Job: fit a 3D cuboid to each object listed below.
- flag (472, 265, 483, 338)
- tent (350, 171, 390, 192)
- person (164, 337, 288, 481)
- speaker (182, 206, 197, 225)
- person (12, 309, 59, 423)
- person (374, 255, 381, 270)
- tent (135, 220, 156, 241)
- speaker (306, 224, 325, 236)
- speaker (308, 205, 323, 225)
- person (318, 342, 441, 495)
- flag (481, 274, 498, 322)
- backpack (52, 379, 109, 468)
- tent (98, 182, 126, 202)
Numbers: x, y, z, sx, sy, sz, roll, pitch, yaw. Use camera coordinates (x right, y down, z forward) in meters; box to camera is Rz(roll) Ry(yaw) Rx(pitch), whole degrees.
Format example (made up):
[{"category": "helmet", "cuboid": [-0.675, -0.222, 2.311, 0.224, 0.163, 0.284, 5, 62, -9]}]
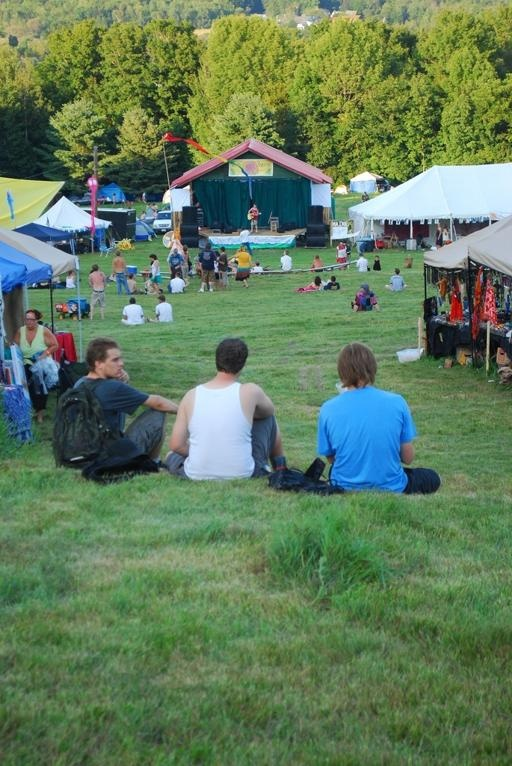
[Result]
[{"category": "flag", "cuboid": [2.841, -0.990, 12.793, 0.142, 0.915, 0.455, 0, 8, 13]}, {"category": "tent", "cuboid": [7.310, -12.589, 62.841, 2.018, 1.585, 2.083, -2, 13, -8]}, {"category": "person", "cuboid": [-0.167, 0.169, 5.949, 0.624, 0.845, 0.815, 3, 11, 6]}, {"category": "speaker", "cuboid": [-2.501, -6.309, 37.582, 0.536, 0.740, 0.654, -2, 8, -5]}, {"category": "person", "cuboid": [-2.168, -0.178, 9.808, 0.366, 1.082, 0.590, 0, 8, 9]}, {"category": "person", "cuboid": [3.606, -3.557, 29.708, 0.200, 0.400, 0.722, -1, 8, 7]}, {"category": "tent", "cuboid": [-4.821, -6.594, 43.048, 0.427, 0.874, 1.654, 1, 9, 16]}, {"category": "speaker", "cuboid": [2.260, -5.773, 37.579, 0.631, 0.405, 0.241, -1, 8, 5]}, {"category": "speaker", "cuboid": [2.318, -6.427, 38.146, 0.617, 0.748, 0.641, 0, 9, 0]}, {"category": "person", "cuboid": [0.711, 0.236, 5.600, 0.730, 0.920, 0.502, -8, 10, -37]}, {"category": "flag", "cuboid": [2.956, -1.029, 12.600, 0.203, 0.587, 0.863, 0, 9, 14]}, {"category": "backpack", "cuboid": [-1.085, 0.275, 6.170, 0.355, 0.499, 0.232, -2, 8, -6]}, {"category": "tent", "cuboid": [-9.346, -12.252, 64.124, 1.392, 0.715, 1.447, 0, 6, -4]}]
